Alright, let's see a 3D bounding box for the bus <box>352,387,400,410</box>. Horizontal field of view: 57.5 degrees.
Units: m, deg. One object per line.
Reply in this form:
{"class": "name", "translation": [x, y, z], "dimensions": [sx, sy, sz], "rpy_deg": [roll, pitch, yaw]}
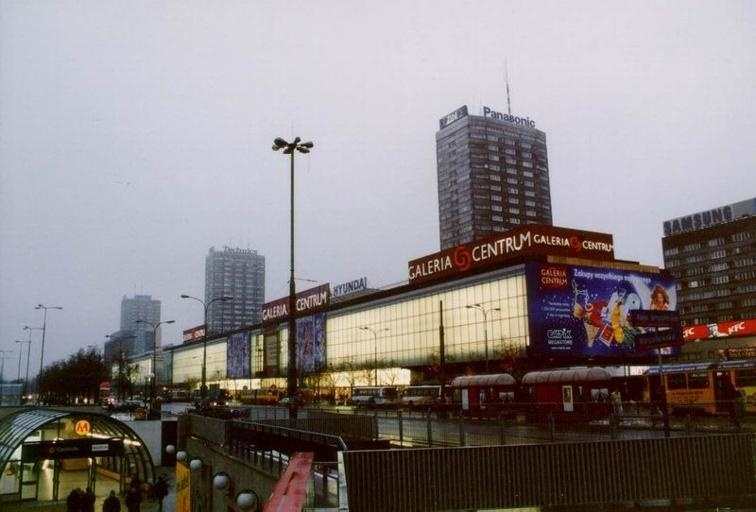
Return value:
{"class": "bus", "translation": [-0.286, 18.181, 87.808], "dimensions": [3.963, 3.625, 13.913], "rpy_deg": [1, -17, -11]}

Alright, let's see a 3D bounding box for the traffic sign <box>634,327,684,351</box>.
{"class": "traffic sign", "translation": [13.421, 4.025, 32.910], "dimensions": [1.099, 1.018, 2.521], "rpy_deg": [3, -17, -16]}

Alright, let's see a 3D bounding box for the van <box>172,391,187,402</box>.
{"class": "van", "translation": [-39.297, 28.233, 136.947], "dimensions": [3.151, 2.225, 3.271], "rpy_deg": [2, -3, -9]}

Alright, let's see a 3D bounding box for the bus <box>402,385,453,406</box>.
{"class": "bus", "translation": [5.339, 15.439, 78.162], "dimensions": [2.684, 2.827, 9.156], "rpy_deg": [13, -16, -34]}
